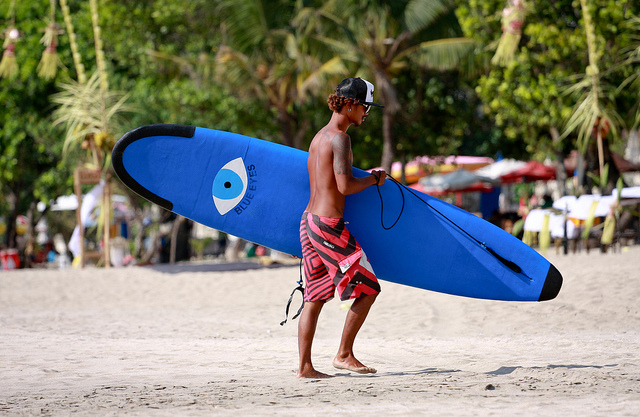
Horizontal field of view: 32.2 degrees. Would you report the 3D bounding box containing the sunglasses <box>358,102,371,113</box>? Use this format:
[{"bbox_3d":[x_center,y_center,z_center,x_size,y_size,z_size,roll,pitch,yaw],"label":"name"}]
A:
[{"bbox_3d":[0.599,-1.423,15.376,0.118,0.085,0.040,27,25,-5],"label":"sunglasses"}]
